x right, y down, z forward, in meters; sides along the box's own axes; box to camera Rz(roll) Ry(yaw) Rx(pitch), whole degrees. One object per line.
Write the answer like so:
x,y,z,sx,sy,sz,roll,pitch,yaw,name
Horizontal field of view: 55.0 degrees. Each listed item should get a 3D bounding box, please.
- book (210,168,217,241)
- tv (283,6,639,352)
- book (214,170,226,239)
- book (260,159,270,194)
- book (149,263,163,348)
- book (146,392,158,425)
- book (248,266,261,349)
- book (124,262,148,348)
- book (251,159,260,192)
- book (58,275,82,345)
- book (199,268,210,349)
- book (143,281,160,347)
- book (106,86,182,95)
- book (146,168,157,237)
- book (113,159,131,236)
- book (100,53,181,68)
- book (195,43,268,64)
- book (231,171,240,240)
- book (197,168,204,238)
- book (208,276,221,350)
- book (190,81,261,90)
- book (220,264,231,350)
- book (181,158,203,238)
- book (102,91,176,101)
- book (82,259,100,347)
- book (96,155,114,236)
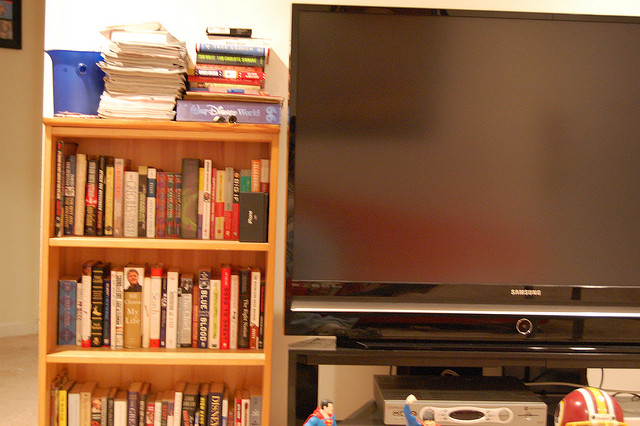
-0.468,-0.041,2.699,0.027,0.310,0.014,-2,4,-37,book
0.542,-0.119,2.564,1.531,1.177,0.282,2,1,-2,tv
-0.436,-0.036,2.678,0.056,0.222,0.230,1,0,-7,book
-0.241,-0.166,2.700,0.040,0.143,0.031,-1,3,-8,book
-0.711,0.409,2.676,0.060,0.348,0.037,-1,3,-22,book
-0.739,0.865,2.704,0.040,0.098,0.105,4,30,-7,book
-0.282,0.411,2.675,0.061,0.248,0.251,2,1,-5,book
-0.798,0.409,2.664,0.100,0.261,0.290,1,20,-5,book
-0.281,-0.161,2.698,0.048,0.125,0.140,0,-2,-6,book
-1.078,0.431,2.652,0.102,0.254,0.279,1,2,-10,book
-0.502,0.418,2.683,0.047,0.341,0.019,-1,3,-11,book
-0.757,0.437,2.811,0.104,0.277,0.291,0,-5,-13,book
-0.742,-0.514,2.575,0.178,0.016,0.031,4,2,-4,book
-0.737,-0.049,2.702,0.049,0.299,0.013,-1,3,-15,book
-0.879,-0.069,2.694,0.052,0.334,0.019,-1,3,-18,book
-0.740,-0.637,2.560,0.317,0.055,0.012,0,3,-5,book
-0.384,-0.717,2.682,0.307,0.053,0.016,0,3,-2,book
-0.369,-0.036,2.694,0.036,0.298,0.037,0,3,-3,book
-0.521,-0.046,2.699,0.030,0.305,0.015,0,3,-5,book
-0.452,0.436,2.685,0.058,0.222,0.231,3,6,-6,book
-0.408,-0.557,2.673,0.304,0.035,0.010,0,3,-1,book
-0.409,0.414,2.686,0.046,0.357,0.032,-1,3,-21,book
-0.559,-0.063,2.698,0.124,0.320,0.345,0,3,-8,book
-0.752,-0.489,2.574,0.296,0.035,0.017,0,3,-1,book
-0.999,0.389,2.665,0.063,0.255,0.257,-2,1,-10,book
-0.939,-0.069,2.687,0.050,0.439,0.336,3,3,-13,book
